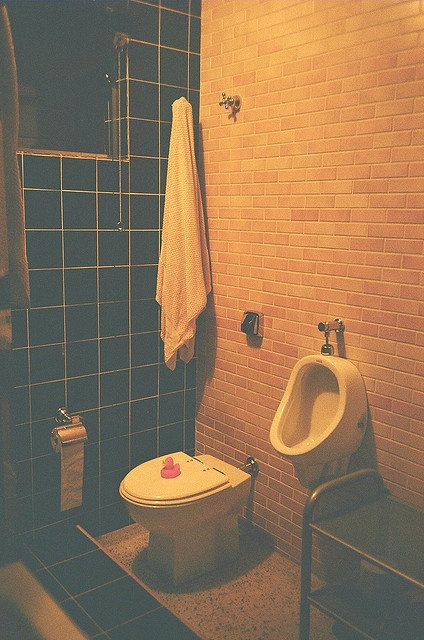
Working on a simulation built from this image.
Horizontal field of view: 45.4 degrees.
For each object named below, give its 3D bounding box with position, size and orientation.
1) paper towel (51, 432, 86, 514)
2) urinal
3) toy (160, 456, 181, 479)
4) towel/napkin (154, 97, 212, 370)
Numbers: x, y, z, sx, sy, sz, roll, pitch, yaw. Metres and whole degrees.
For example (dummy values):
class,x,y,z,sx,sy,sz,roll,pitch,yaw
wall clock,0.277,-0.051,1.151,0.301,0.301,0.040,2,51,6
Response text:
class,x,y,z,sx,sy,sz,roll,pitch,yaw
paper towel,-0.370,0.376,1.314,0.087,0.243,0.037,-2,9,-42
urinal,0.336,0.288,1.679,0.331,0.440,0.236,-5,8,-43
toy,-0.149,0.529,1.831,0.070,0.053,0.096,-4,12,-6
towel/napkin,-0.127,-0.349,2.167,0.238,1.129,0.246,-2,10,-1
